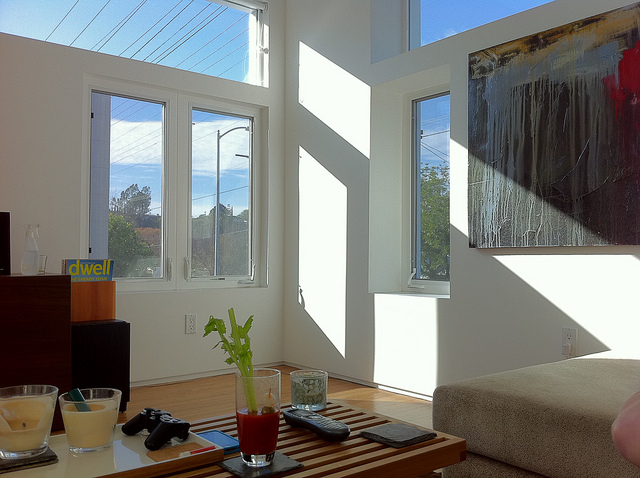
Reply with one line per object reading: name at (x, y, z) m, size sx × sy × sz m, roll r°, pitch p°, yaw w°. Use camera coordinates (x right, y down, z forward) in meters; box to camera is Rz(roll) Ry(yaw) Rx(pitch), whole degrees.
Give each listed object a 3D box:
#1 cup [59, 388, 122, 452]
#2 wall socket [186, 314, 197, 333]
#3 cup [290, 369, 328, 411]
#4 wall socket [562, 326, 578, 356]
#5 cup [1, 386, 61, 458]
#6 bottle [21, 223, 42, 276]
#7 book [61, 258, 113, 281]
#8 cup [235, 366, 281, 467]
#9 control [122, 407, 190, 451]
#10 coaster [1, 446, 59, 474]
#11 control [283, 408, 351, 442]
cup at (-0.610, 0.454, 1.237) m, size 0.148 × 0.145 × 0.136 m, roll -10°, pitch -5°, yaw -1°
wall socket at (-1.059, 0.680, 3.926) m, size 0.078 × 0.154 × 0.026 m, roll 1°, pitch 4°, yaw -38°
cup at (-0.045, 0.512, 1.634) m, size 0.150 × 0.117 × 0.152 m, roll -1°, pitch -13°, yaw 0°
wall socket at (1.422, 0.596, 2.715) m, size 0.077 × 0.134 × 0.014 m, roll 14°, pitch -39°, yaw 12°
cup at (-0.701, 0.421, 1.163) m, size 0.138 × 0.121 × 0.145 m, roll 0°, pitch -3°, yaw 0°
bottle at (-1.728, 0.055, 2.846) m, size 0.091 × 0.271 × 0.547 m, roll 1°, pitch 4°, yaw -31°
book at (-1.486, 0.191, 3.051) m, size 0.280 × 0.131 × 0.043 m, roll 2°, pitch 4°, yaw -28°
cup at (-0.158, 0.443, 1.189) m, size 0.107 × 0.207 × 0.073 m, roll 3°, pitch 3°, yaw -8°
control at (-0.449, 0.501, 1.301) m, size 0.187 × 0.074 × 0.127 m, roll -3°, pitch -5°, yaw 44°
coaster at (-0.689, 0.520, 1.132) m, size 0.116 × 0.017 × 0.050 m, roll 2°, pitch 4°, yaw -28°
control at (-0.013, 0.543, 1.402) m, size 0.239 × 0.048 × 0.078 m, roll -1°, pitch -3°, yaw 44°
